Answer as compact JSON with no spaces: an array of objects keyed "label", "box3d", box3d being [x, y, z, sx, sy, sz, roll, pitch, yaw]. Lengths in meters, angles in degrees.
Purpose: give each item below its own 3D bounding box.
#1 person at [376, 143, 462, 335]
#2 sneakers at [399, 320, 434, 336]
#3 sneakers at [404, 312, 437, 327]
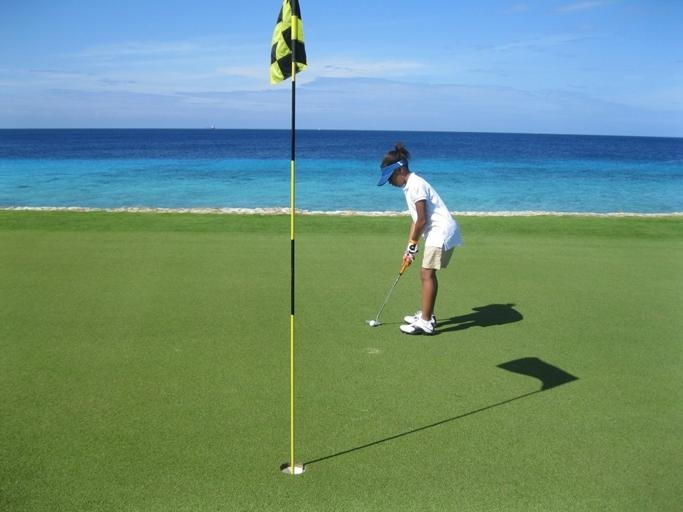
[{"label":"person","box3d":[0.862,-0.193,6.703,0.876,2.088,0.479,1,2,10]},{"label":"sneakers","box3d":[0.811,0.776,6.595,0.376,0.167,0.143,4,5,4]},{"label":"sneakers","box3d":[0.836,0.695,6.704,0.436,0.182,0.157,3,2,1]}]
